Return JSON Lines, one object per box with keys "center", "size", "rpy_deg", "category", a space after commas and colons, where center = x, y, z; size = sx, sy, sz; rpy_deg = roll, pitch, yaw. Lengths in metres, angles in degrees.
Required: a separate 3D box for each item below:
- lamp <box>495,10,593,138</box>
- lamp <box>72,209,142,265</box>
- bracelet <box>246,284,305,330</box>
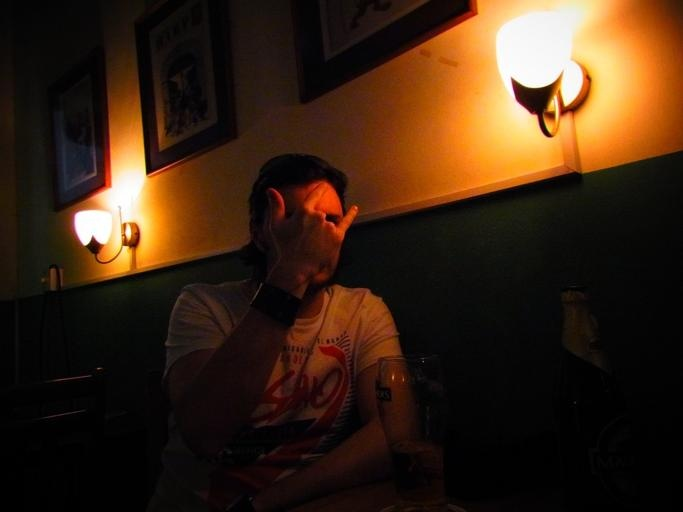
{"center": [0.652, -0.564, 1.939], "size": [0.226, 0.354, 0.200], "rpy_deg": [-8, 9, -39], "category": "lamp"}
{"center": [-1.295, -0.086, 3.315], "size": [0.304, 0.432, 0.176], "rpy_deg": [-5, 9, -35], "category": "lamp"}
{"center": [-0.200, 0.147, 1.696], "size": [0.154, 0.112, 0.037], "rpy_deg": [30, -3, 6], "category": "bracelet"}
